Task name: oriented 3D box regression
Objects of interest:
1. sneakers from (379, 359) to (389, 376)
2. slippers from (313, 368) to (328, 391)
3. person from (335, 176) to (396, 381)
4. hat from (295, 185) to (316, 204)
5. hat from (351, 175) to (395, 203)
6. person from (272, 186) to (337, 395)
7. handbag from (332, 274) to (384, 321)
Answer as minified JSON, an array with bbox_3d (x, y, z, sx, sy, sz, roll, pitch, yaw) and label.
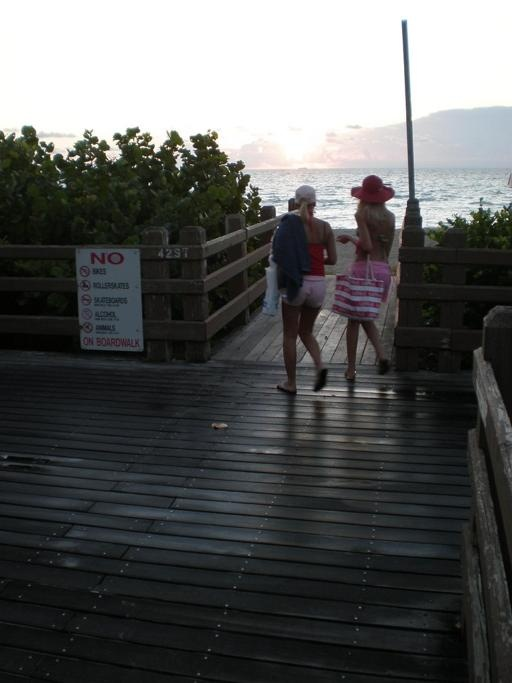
[{"bbox_3d":[1.194,0.250,5.263,0.071,0.183,0.076,-4,14,-3],"label":"sneakers"},{"bbox_3d":[0.550,0.323,4.837,0.087,0.240,0.106,7,0,6],"label":"slippers"},{"bbox_3d":[1.023,-0.594,5.387,0.538,1.844,0.799,0,12,12],"label":"person"},{"bbox_3d":[0.417,-1.215,4.784,0.172,0.155,0.264,-1,12,3],"label":"hat"},{"bbox_3d":[1.034,-1.328,5.064,0.362,0.269,0.442,0,12,9],"label":"hat"},{"bbox_3d":[0.418,-0.417,4.858,0.528,1.743,0.462,-2,12,2],"label":"person"},{"bbox_3d":[0.937,-0.408,5.222,0.464,0.442,0.170,10,10,34],"label":"handbag"}]
